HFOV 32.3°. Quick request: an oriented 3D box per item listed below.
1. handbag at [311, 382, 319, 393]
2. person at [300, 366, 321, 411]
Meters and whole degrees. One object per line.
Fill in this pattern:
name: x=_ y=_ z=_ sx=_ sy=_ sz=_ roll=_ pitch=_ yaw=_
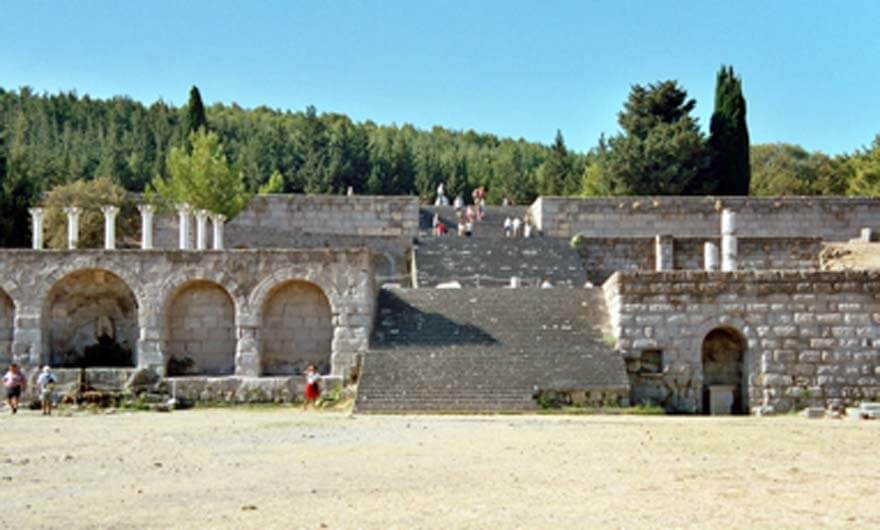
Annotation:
handbag: x=-6.281 y=6.217 z=76.631 sx=0.201 sy=0.605 sz=0.658 roll=-1 pitch=-5 yaw=12
person: x=-6.498 y=6.236 z=76.691 sx=0.817 sy=2.205 sz=0.973 roll=0 pitch=-6 yaw=-5
